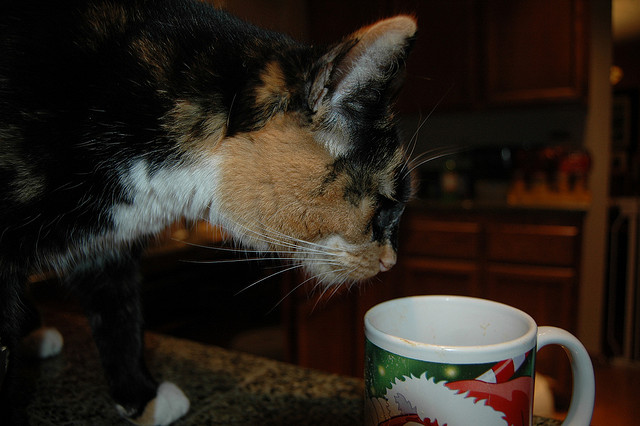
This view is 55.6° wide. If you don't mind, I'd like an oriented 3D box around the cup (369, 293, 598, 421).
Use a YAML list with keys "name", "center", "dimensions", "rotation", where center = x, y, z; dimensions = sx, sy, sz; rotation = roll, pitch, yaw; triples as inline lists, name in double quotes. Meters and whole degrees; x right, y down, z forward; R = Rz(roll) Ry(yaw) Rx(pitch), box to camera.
- name: "cup"
  center: [0.225, 0.194, 0.771]
  dimensions: [0.334, 0.141, 0.134]
  rotation: [3, 12, -2]
